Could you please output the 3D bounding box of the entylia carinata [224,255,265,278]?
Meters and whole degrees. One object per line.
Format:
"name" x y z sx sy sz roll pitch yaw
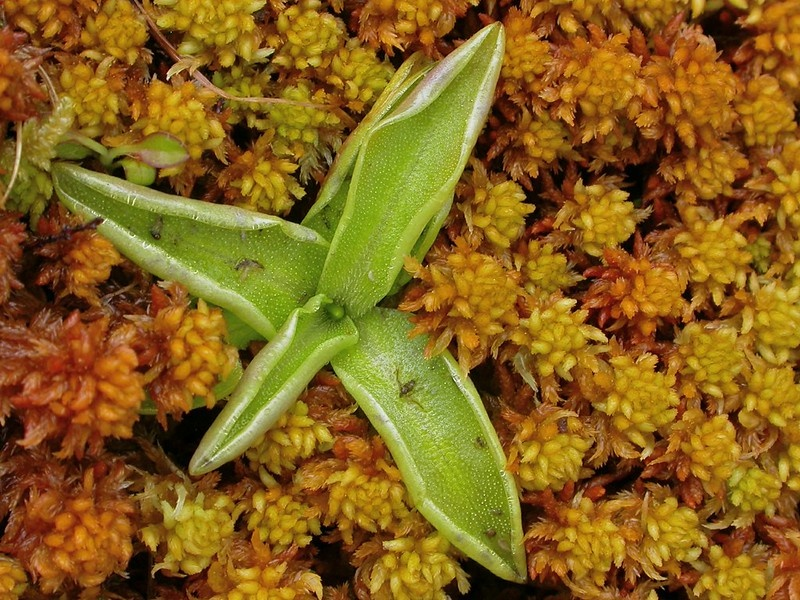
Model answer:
"entylia carinata" -0.724 -0.158 4.096 0.132 0.053 0.087 -25 85 -4

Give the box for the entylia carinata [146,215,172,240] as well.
"entylia carinata" -1.094 -0.328 3.914 0.071 0.024 0.101 12 91 -28

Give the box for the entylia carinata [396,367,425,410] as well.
"entylia carinata" 0.044 0.442 4.199 0.103 0.032 0.225 -15 84 -3
